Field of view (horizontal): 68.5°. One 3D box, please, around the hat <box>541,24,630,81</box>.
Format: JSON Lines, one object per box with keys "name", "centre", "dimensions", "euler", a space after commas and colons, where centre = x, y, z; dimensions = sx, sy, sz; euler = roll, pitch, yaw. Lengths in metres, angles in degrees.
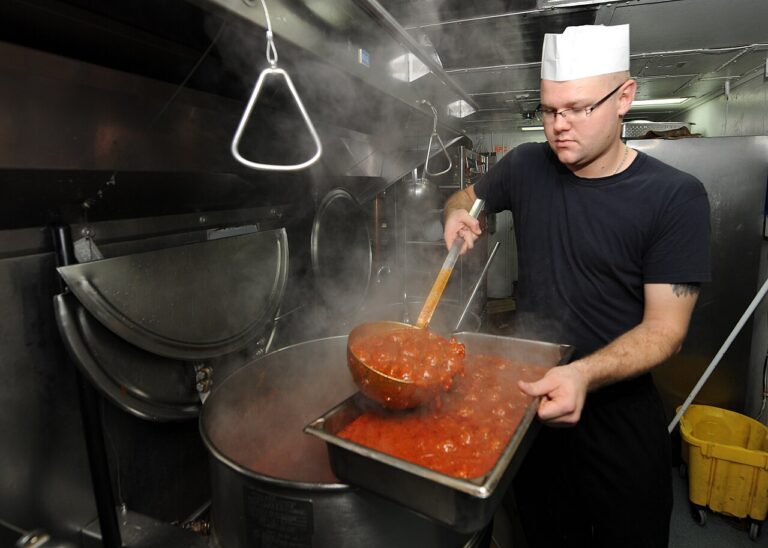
{"name": "hat", "centre": [0.658, -0.716, 1.826], "dimensions": [0.241, 0.146, 0.188], "euler": [5, 30, 25]}
